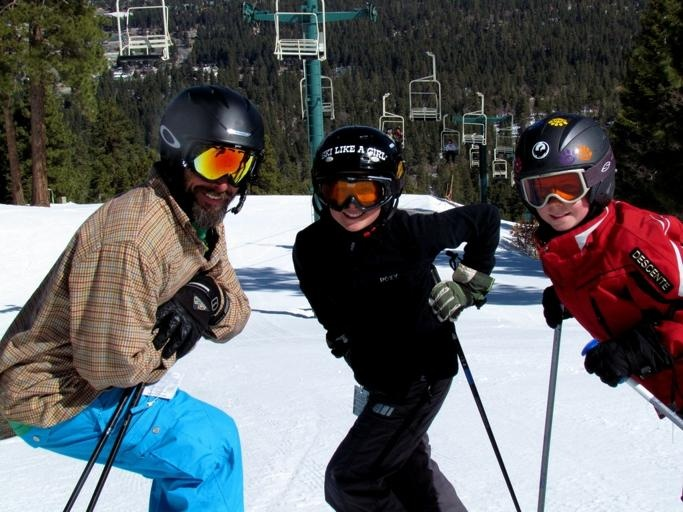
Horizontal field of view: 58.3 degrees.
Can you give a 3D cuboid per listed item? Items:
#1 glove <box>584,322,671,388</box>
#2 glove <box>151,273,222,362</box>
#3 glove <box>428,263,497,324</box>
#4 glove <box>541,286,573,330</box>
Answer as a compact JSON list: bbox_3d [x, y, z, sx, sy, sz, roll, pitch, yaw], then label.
[{"bbox_3d":[1.523,0.502,3.280,0.390,0.191,0.323,21,29,16],"label":"glove"},{"bbox_3d":[-0.774,0.293,3.123,0.122,0.236,0.439,-22,28,47],"label":"glove"},{"bbox_3d":[0.755,0.161,3.639,0.254,0.167,0.348,-42,27,-8],"label":"glove"},{"bbox_3d":[1.339,0.320,3.809,0.096,0.190,0.269,-25,23,37],"label":"glove"}]
